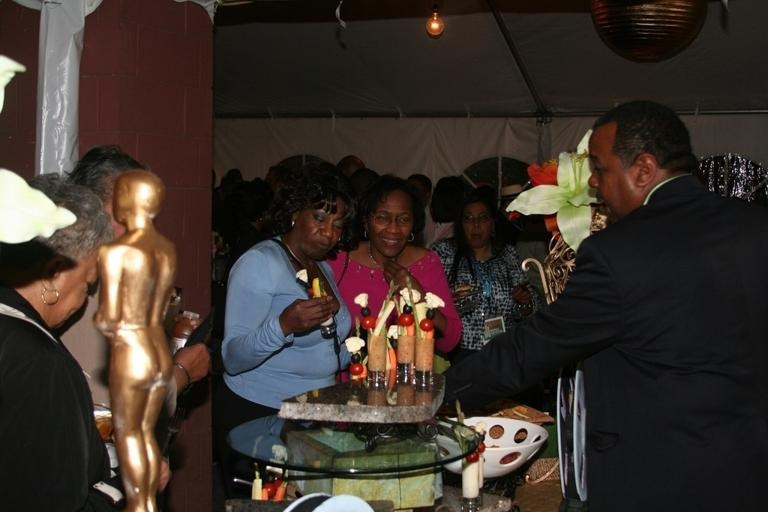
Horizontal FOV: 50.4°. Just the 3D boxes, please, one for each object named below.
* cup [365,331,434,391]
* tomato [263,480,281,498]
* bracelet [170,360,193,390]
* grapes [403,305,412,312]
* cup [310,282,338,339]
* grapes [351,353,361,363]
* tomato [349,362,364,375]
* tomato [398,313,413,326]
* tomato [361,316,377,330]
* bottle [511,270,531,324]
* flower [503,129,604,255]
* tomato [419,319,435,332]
[{"bbox_3d":[0.061,0.425,3.444,0.305,0.302,0.170,0,0,7],"label":"cup"},{"bbox_3d":[-0.488,1.007,3.518,0.071,0.067,0.056,25,-33,-29],"label":"tomato"},{"bbox_3d":[-0.948,0.567,3.835,0.112,0.115,0.103,-23,-11,-18],"label":"bracelet"},{"bbox_3d":[0.101,0.221,3.471,0.030,0.033,0.029,-1,13,8],"label":"grapes"},{"bbox_3d":[-0.289,0.242,3.885,0.103,0.336,0.082,-3,37,6],"label":"cup"},{"bbox_3d":[-0.123,0.428,3.469,0.035,0.041,0.035,-3,36,-46],"label":"grapes"},{"bbox_3d":[-0.112,0.475,3.421,0.052,0.047,0.051,32,-14,-37],"label":"tomato"},{"bbox_3d":[0.095,0.267,3.449,0.064,0.058,0.041,0,-5,1],"label":"tomato"},{"bbox_3d":[-0.065,0.286,3.469,0.058,0.031,0.058,6,-18,-38],"label":"tomato"},{"bbox_3d":[0.945,0.276,5.640,0.192,0.259,0.090,7,-11,-43],"label":"bottle"},{"bbox_3d":[0.812,-0.370,3.640,0.457,0.240,0.403,7,-14,32],"label":"flower"},{"bbox_3d":[0.185,0.292,3.449,0.051,0.052,0.052,-4,8,-23],"label":"tomato"}]
